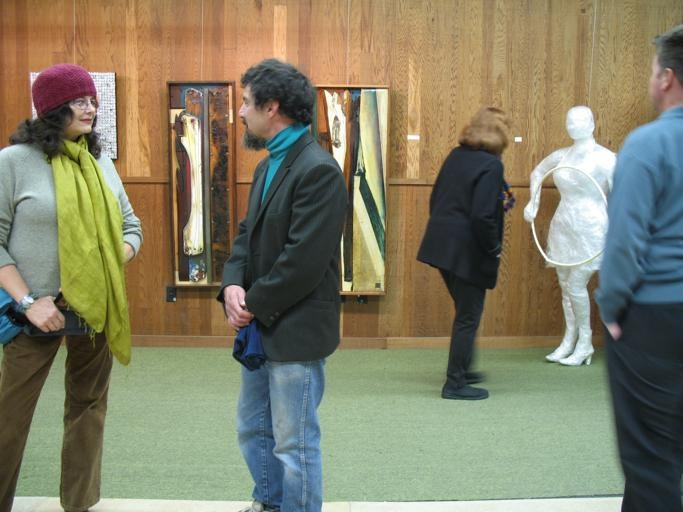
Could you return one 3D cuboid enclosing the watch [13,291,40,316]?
[{"bbox_3d":[-1.258,0.187,2.456,0.062,0.087,0.094,29,22,10],"label":"watch"}]

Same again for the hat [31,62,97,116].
[{"bbox_3d":[-1.169,-0.666,2.619,0.212,0.176,0.217,-12,12,-8],"label":"hat"}]

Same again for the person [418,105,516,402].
[{"bbox_3d":[0.801,-0.019,4.178,0.555,1.919,0.352,2,7,15],"label":"person"}]

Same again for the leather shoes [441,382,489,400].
[{"bbox_3d":[0.827,0.905,4.176,0.261,0.119,0.130,-1,0,1],"label":"leather shoes"}]

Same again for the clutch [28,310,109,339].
[{"bbox_3d":[-1.147,0.277,2.542,0.305,0.145,0.117,-3,8,-24],"label":"clutch"}]
